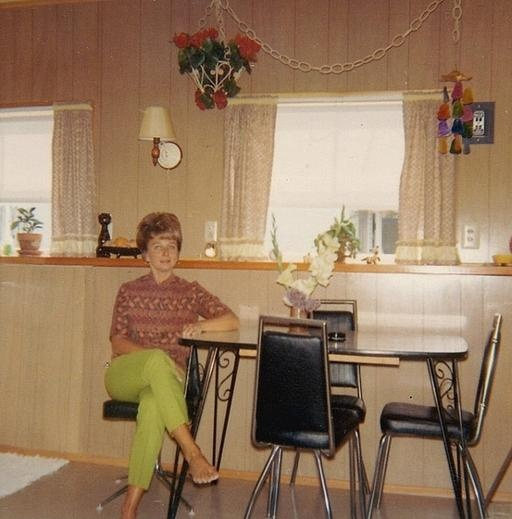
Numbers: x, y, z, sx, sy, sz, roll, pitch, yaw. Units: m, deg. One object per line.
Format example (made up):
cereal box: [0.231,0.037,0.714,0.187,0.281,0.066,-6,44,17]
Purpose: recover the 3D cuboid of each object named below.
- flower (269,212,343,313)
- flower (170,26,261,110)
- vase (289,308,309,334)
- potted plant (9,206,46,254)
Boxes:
flower: [0.305,0.020,3.518,0.428,0.697,0.261,8,15,23]
flower: [-0.267,-1.231,3.948,0.491,0.607,0.514,11,17,44]
vase: [0.213,0.295,3.013,0.103,0.205,0.112,1,4,6]
potted plant: [-1.653,-0.198,4.355,0.205,0.343,0.166,0,-9,-19]
